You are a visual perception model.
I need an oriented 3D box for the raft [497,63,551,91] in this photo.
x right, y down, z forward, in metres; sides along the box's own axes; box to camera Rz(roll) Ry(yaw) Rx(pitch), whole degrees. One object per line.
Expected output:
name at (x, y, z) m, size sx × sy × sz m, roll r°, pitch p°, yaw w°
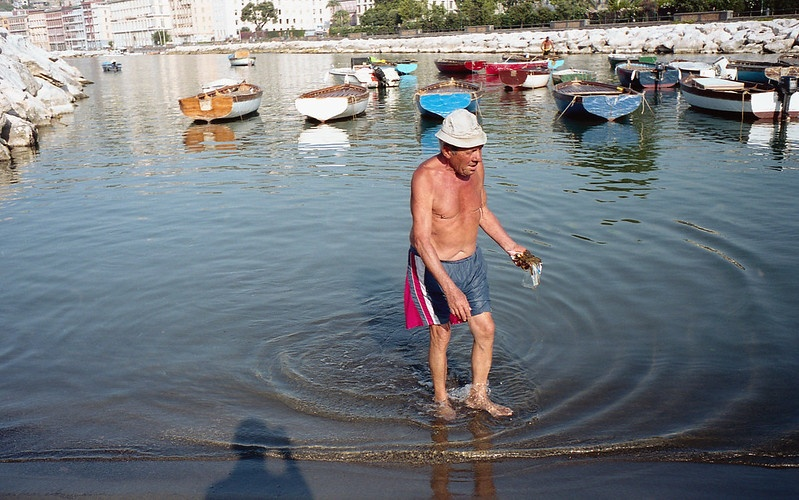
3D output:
raft at (6.776, -9.479, 42.285) m, size 1.650 × 1.159 × 2.325 m, roll 13°, pitch 21°, yaw 41°

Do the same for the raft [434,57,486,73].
raft at (4.389, -13.325, 55.506) m, size 1.792 × 0.948 × 3.873 m, roll -9°, pitch 15°, yaw -24°

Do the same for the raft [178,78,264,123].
raft at (-7.807, -6.415, 34.025) m, size 3.294 × 1.202 × 4.120 m, roll 4°, pitch 19°, yaw 15°

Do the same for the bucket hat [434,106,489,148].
bucket hat at (0.848, -1.747, 10.868) m, size 0.951 × 0.273 × 0.628 m, roll -1°, pitch 31°, yaw -2°
